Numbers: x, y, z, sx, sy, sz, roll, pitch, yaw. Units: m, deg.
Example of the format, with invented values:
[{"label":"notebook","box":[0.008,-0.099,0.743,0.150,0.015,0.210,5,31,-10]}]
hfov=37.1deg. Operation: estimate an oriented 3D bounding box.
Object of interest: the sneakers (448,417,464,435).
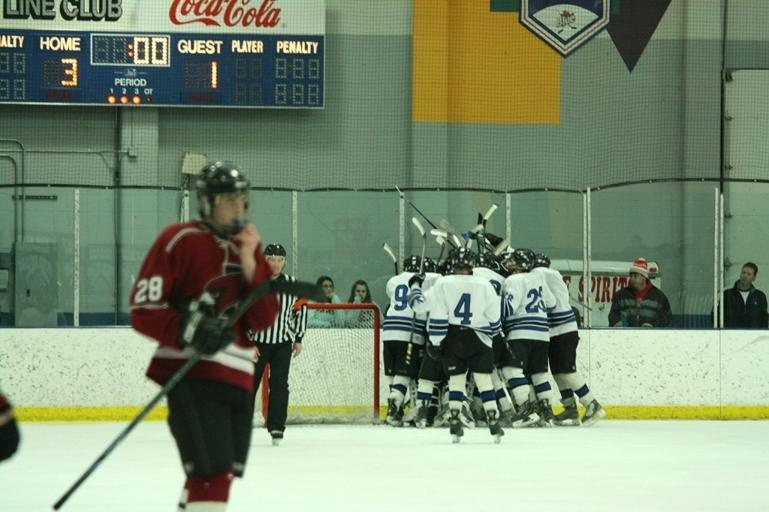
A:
[{"label":"sneakers","box":[0.791,1.833,12.544,0.150,0.240,0.286,0,4,4]}]

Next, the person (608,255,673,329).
[{"label":"person","box":[3.240,0.632,14.517,0.778,1.151,0.581,0,1,18]}]

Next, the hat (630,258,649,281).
[{"label":"hat","box":[3.218,0.152,14.378,0.257,0.227,0.208,18,-1,12]}]

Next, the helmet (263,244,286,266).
[{"label":"helmet","box":[-1.198,-0.013,12.403,0.185,0.205,0.234,3,7,-3]}]

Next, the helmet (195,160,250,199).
[{"label":"helmet","box":[-1.273,-0.595,8.947,0.325,0.142,0.245,-7,4,8]}]
